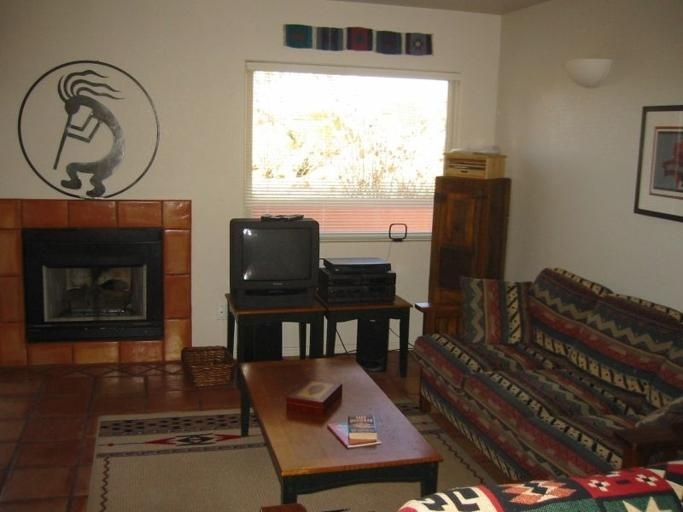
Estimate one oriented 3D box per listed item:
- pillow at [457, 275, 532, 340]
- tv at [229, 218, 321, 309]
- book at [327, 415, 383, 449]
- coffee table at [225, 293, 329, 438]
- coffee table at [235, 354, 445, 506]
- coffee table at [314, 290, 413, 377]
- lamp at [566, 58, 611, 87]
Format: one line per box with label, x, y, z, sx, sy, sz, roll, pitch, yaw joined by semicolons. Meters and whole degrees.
pillow;1.041;0.362;3.647;0.436;0.397;0.126;0;-10;-1
tv;-0.513;0.027;4.207;0.691;0.639;0.505;-2;10;-16
book;0.060;0.809;2.544;0.213;0.075;0.219;-2;15;-17
coffee table;-0.510;0.769;4.277;0.857;1.176;0.810;0;4;-13
coffee table;-0.004;0.840;2.633;0.671;0.536;1.197;0;11;-16
coffee table;0.184;0.504;4.429;0.709;0.641;0.638;-1;22;-4
lamp;1.628;-1.208;3.581;0.267;0.163;0.091;8;15;21
